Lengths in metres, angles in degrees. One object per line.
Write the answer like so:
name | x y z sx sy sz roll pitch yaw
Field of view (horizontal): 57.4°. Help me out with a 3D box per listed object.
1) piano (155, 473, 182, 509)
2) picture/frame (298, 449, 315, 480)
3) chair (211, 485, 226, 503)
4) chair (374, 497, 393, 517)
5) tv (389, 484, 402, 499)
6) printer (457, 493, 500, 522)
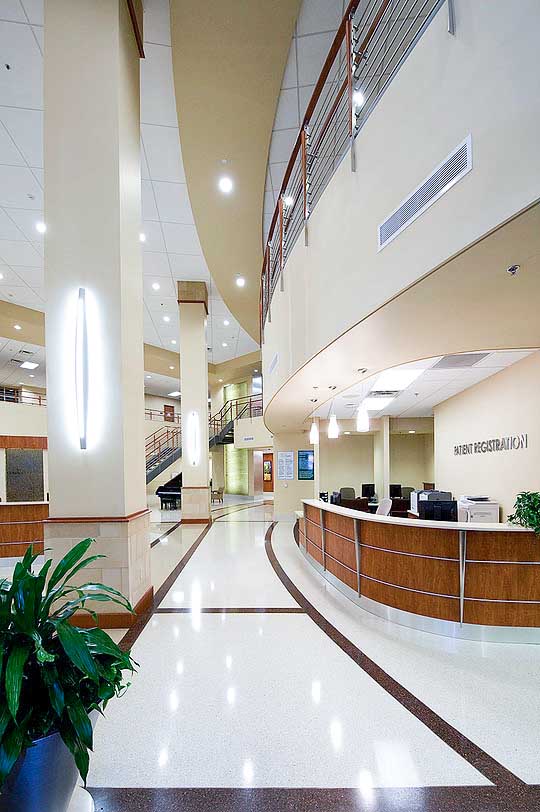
piano | -3.369 2.882 16.575 0.693 1.030 1.840 1 -6 -10
picture/frame | 0.858 1.448 12.214 0.350 0.729 0.115 -1 -4 6
chair | -2.002 3.345 18.557 0.340 0.530 1.432 1 -6 -10
chair | 1.830 1.622 7.942 0.174 0.244 0.958 -1 -6 10
tv | 2.838 1.929 11.224 0.348 0.477 0.286 0 -2 26
printer | 2.919 1.446 6.954 0.460 0.544 0.554 0 -3 -1
